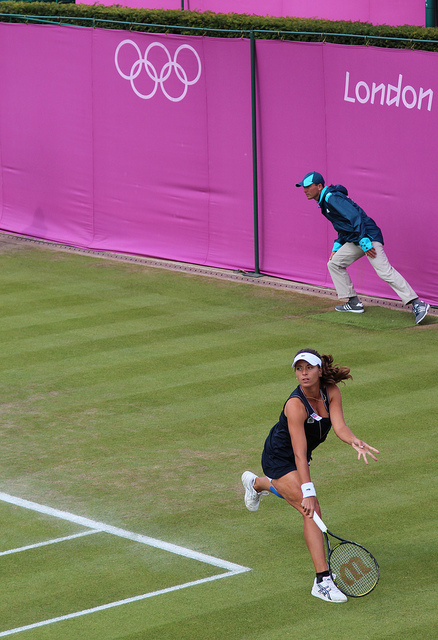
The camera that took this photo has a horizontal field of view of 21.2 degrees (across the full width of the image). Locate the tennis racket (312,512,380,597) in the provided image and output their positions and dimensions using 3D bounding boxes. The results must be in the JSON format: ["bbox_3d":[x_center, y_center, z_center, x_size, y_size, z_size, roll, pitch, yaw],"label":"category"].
[{"bbox_3d":[0.671,1.254,6.458,0.034,0.203,0.711,48,6,-39],"label":"tennis racket"}]

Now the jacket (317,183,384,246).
[{"bbox_3d":[1.526,-1.198,13.763,0.761,0.711,0.398,10,17,37],"label":"jacket"}]

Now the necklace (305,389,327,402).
[{"bbox_3d":[0.569,0.448,6.897,0.095,0.027,0.090,0,46,-1],"label":"necklace"}]

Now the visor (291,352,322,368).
[{"bbox_3d":[0.510,0.242,6.798,0.172,0.105,0.166,2,13,9],"label":"visor"}]

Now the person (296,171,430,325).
[{"bbox_3d":[1.654,-0.843,13.766,1.371,1.722,0.577,12,18,43],"label":"person"}]

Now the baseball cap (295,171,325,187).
[{"bbox_3d":[1.088,-1.662,13.834,0.321,0.177,0.202,2,4,2],"label":"baseball cap"}]
